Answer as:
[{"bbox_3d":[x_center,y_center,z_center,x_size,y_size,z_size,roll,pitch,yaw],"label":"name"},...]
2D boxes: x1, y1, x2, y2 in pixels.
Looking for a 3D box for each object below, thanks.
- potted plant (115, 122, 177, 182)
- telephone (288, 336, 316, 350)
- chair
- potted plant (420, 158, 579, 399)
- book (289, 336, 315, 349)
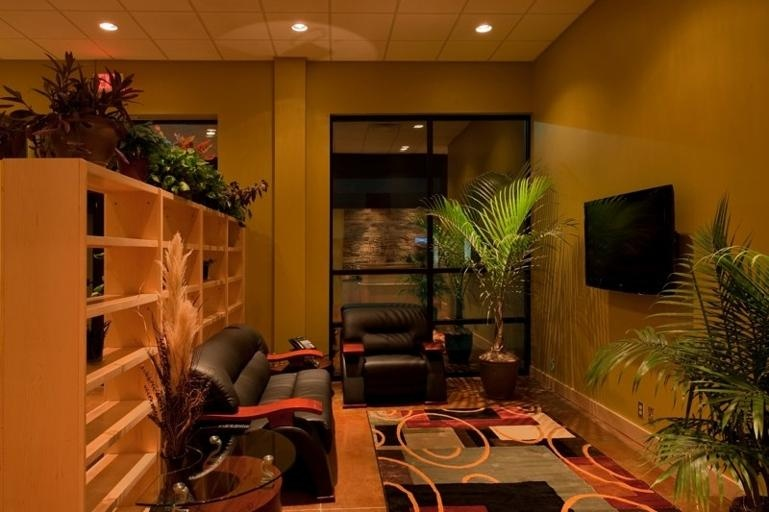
[{"bbox_3d":[-1.816,-0.744,3.989,0.446,0.452,0.423,5,5,23],"label":"potted plant"},{"bbox_3d":[-0.875,0.982,5.917,0.250,0.086,0.182,1,3,-42],"label":"telephone"},{"bbox_3d":[0.046,1.145,6.308,1.277,0.992,1.256,0,0,-13],"label":"chair"},{"bbox_3d":[1.418,0.418,6.521,1.705,2.651,2.078,3,1,1],"label":"potted plant"},{"bbox_3d":[-0.901,0.976,5.895,0.243,0.086,0.177,1,4,-34],"label":"book"}]
